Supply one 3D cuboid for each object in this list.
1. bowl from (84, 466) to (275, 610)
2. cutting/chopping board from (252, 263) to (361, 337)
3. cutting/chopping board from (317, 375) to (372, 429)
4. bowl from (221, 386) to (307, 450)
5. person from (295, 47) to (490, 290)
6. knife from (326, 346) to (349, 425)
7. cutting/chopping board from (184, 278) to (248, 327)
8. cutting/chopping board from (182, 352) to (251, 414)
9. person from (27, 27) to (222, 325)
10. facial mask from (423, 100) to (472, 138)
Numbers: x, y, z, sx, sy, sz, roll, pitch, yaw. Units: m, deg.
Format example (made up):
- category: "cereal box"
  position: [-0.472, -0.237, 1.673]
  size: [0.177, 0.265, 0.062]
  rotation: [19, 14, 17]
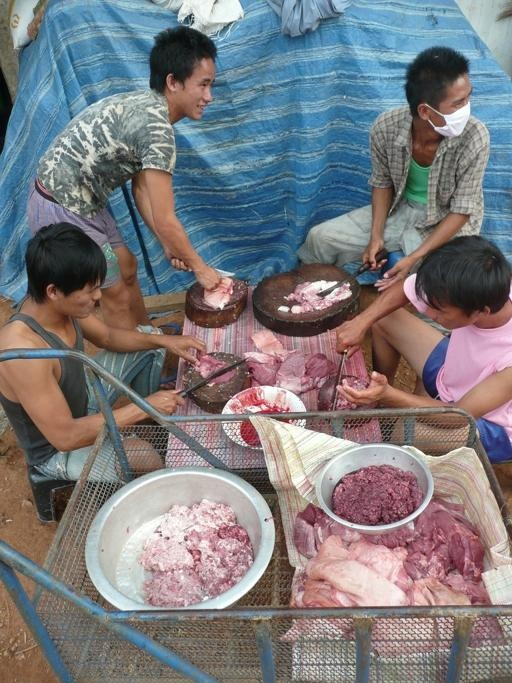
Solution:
- category: "bowl"
  position: [-0.235, 0.642, 1.905]
  size: [0.588, 0.295, 0.537]
  rotation: [-4, 44, 4]
- category: "cutting/chopping board"
  position: [0.213, -0.247, 3.459]
  size: [0.578, 0.118, 0.477]
  rotation: [-15, 41, -4]
- category: "cutting/chopping board"
  position: [0.369, 0.256, 2.445]
  size: [0.295, 0.127, 0.324]
  rotation: [-1, 24, -2]
- category: "bowl"
  position: [0.027, 0.313, 2.366]
  size: [0.279, 0.123, 0.251]
  rotation: [-11, 27, -22]
- category: "person"
  position: [0.981, -1.190, 4.068]
  size: [1.283, 1.506, 0.899]
  rotation: [1, 31, 4]
- category: "knife"
  position: [0.383, 0.185, 2.744]
  size: [0.063, 0.068, 0.502]
  rotation: [15, 46, 15]
- category: "cutting/chopping board"
  position: [-0.213, -0.222, 3.668]
  size: [0.452, 0.250, 0.387]
  rotation: [-4, 27, -3]
- category: "cutting/chopping board"
  position: [-0.198, 0.189, 2.962]
  size: [0.400, 0.250, 0.356]
  rotation: [-8, 26, -21]
- category: "person"
  position: [-0.760, -0.919, 3.611]
  size: [1.108, 1.817, 0.942]
  rotation: [-11, 34, -20]
- category: "facial mask"
  position: [1.094, -1.269, 3.400]
  size: [0.252, 0.224, 0.104]
  rotation: [2, 48, 10]
